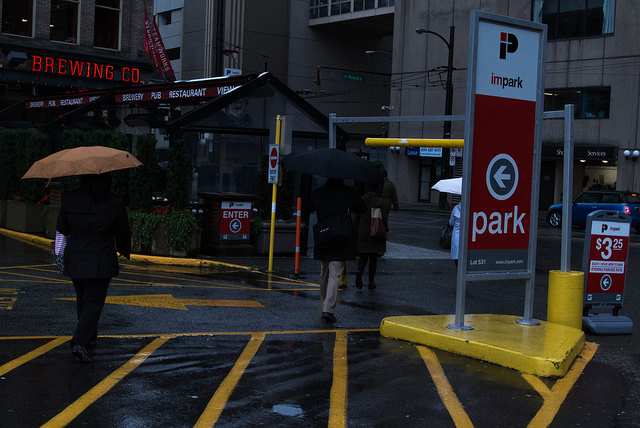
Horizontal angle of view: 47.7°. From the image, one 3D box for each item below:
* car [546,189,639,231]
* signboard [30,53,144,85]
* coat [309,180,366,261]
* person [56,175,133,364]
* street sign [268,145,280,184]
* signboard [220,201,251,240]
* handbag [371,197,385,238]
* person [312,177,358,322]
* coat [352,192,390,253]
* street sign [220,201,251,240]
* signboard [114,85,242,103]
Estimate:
[{"bbox_3d":[8.871,-0.136,23.265,2.833,1.415,1.668,5,3,39],"label":"car"},{"bbox_3d":[-10.979,-6.832,34.067,5.402,1.070,0.414,-5,10,-40],"label":"signboard"},{"bbox_3d":[0.261,0.104,11.683,0.902,1.266,0.617,2,8,0],"label":"coat"},{"bbox_3d":[-2.978,0.680,9.504,0.924,2.348,0.811,-1,8,-20],"label":"person"},{"bbox_3d":[-0.993,-1.071,15.292,0.307,0.821,0.015,6,5,37],"label":"street sign"},{"bbox_3d":[-2.179,0.152,17.795,1.023,1.065,0.653,1,3,-24],"label":"signboard"},{"bbox_3d":[1.112,0.177,13.841,0.276,0.570,0.212,1,8,-6],"label":"handbag"},{"bbox_3d":[0.229,0.545,11.690,0.719,2.310,0.650,4,8,15],"label":"person"},{"bbox_3d":[0.978,0.282,14.192,0.498,1.421,0.587,1,2,3],"label":"coat"},{"bbox_3d":[-2.100,0.138,17.531,0.803,1.121,0.496,3,-5,-24],"label":"street sign"},{"bbox_3d":[-4.320,-3.403,20.605,5.130,0.545,0.362,10,11,42],"label":"signboard"}]
